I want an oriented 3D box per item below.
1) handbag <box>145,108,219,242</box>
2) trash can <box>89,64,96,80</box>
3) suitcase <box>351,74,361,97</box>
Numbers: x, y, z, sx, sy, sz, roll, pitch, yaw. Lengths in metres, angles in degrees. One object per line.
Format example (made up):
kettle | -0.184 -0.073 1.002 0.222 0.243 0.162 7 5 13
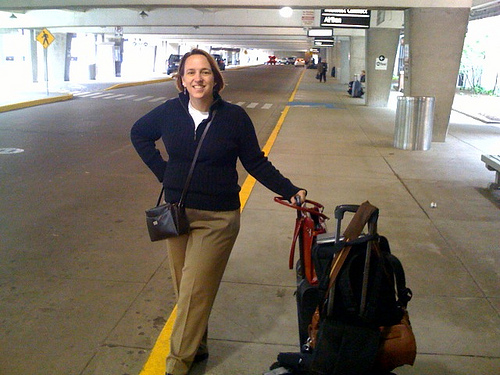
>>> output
handbag | -0.466 -0.063 2.531 0.519 0.943 0.229 -3 17 -15
trash can | -17.044 -12.703 39.329 0.692 1.506 0.677 -9 19 -31
suitcase | 7.590 -6.997 25.432 0.581 1.106 0.762 1 16 -1
